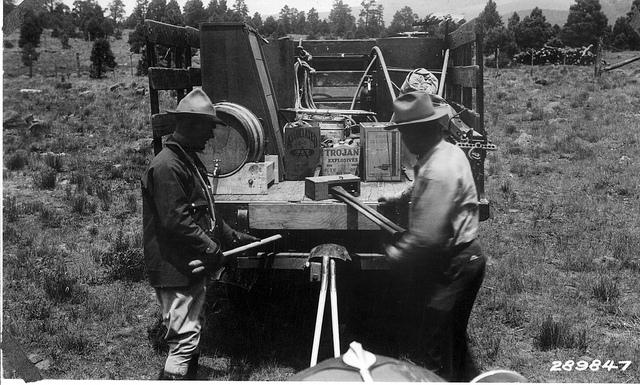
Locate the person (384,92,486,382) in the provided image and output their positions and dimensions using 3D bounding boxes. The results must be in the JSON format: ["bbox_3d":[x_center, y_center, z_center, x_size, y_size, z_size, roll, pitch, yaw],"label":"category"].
[{"bbox_3d":[1.281,0.491,5.763,0.982,3.109,0.500,3,8,16],"label":"person"}]

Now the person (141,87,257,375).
[{"bbox_3d":[-1.566,0.487,6.392,1.099,3.415,1.405,-1,8,-9],"label":"person"}]

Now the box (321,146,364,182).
[{"bbox_3d":[0.327,-0.481,7.777,0.612,0.560,0.349,-2,24,0],"label":"box"}]

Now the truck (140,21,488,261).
[{"bbox_3d":[0.416,-0.998,8.630,3.818,3.639,5.424,0,14,4],"label":"truck"}]
